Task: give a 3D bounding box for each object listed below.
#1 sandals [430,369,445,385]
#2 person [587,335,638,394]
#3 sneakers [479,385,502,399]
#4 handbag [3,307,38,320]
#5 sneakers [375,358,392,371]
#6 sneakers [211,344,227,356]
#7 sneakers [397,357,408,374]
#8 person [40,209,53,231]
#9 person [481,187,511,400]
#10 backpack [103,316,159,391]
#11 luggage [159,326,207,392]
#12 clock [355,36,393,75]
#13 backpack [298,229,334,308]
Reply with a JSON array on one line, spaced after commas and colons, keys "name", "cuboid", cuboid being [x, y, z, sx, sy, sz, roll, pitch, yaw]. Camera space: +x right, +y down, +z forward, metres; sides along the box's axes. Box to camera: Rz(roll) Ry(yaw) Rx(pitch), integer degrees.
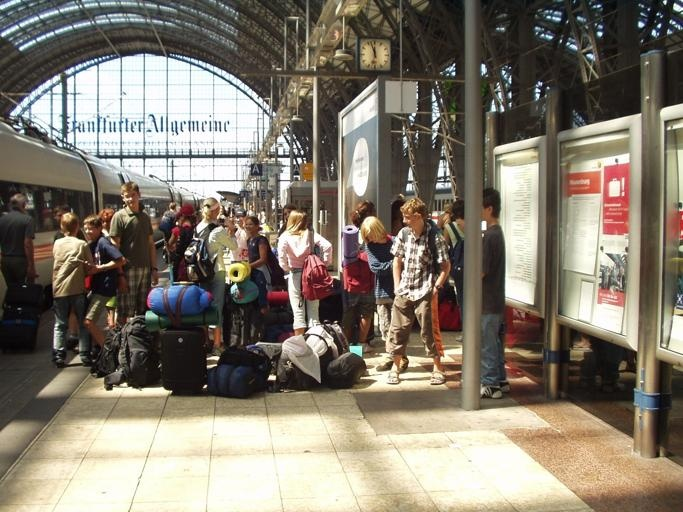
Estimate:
[{"name": "sandals", "cuboid": [1.257, 1.554, 7.064, 0.223, 0.162, 0.184, 0, 3, 0]}, {"name": "person", "cuboid": [2.957, 1.154, 6.044, 0.363, 0.564, 0.742, 1, -2, -7]}, {"name": "sneakers", "cuboid": [1.755, 1.593, 6.397, 0.298, 0.154, 0.119, 5, -3, -4]}, {"name": "handbag", "cuboid": [-5.250, 0.937, 8.865, 0.267, 0.114, 0.294, 2, 15, -13]}, {"name": "sneakers", "cuboid": [0.637, 1.515, 7.650, 0.322, 0.152, 0.121, 1, -1, -28]}, {"name": "sneakers", "cuboid": [-1.918, 1.436, 8.543, 0.190, 0.268, 0.601, 1, -7, -22]}, {"name": "sneakers", "cuboid": [0.897, 1.504, 7.758, 0.097, 0.196, 0.391, 0, 3, 11]}, {"name": "person", "cuboid": [-7.341, -0.882, 13.565, 0.188, 0.542, 1.120, -1, 3, -22]}, {"name": "person", "cuboid": [1.785, 0.444, 6.367, 0.290, 2.454, 0.511, 1, 2, 18]}, {"name": "backpack", "cuboid": [-2.689, 1.278, 6.979, 0.411, 0.861, 0.678, -10, -12, 23]}, {"name": "luggage", "cuboid": [-1.918, 1.178, 6.675, 0.531, 0.928, 0.500, 3, 24, -6]}, {"name": "clock", "cuboid": [0.737, -4.589, 12.366, 0.745, 0.905, 0.846, 0, 3, 3]}, {"name": "backpack", "cuboid": [-0.373, 0.147, 8.025, 0.441, 1.046, 0.637, 0, 2, -2]}]
